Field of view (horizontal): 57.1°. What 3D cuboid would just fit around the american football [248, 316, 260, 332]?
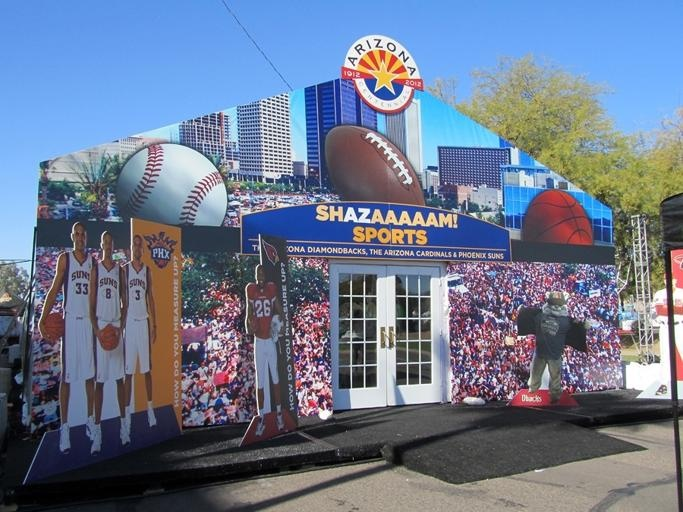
[{"bbox_3d":[-1.250,0.994,9.061,0.085,0.204,0.180,9,16,29],"label":"american football"}]
